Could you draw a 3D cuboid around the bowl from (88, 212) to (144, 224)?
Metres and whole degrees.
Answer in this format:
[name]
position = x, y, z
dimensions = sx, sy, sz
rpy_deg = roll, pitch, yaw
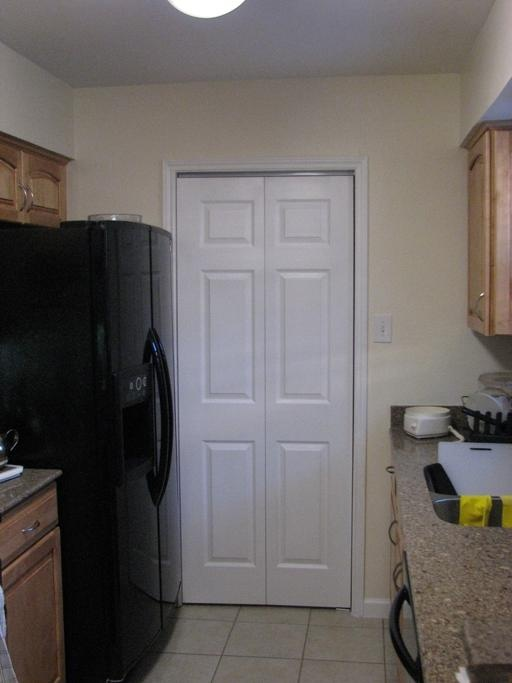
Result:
[bowl]
position = -0.489, -0.440, 1.940
dimensions = 0.119, 0.035, 0.120
rpy_deg = 1, 8, 0

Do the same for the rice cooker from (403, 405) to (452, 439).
[rice cooker]
position = 0.704, 0.329, 2.273
dimensions = 0.185, 0.089, 0.233
rpy_deg = -6, -3, 9
